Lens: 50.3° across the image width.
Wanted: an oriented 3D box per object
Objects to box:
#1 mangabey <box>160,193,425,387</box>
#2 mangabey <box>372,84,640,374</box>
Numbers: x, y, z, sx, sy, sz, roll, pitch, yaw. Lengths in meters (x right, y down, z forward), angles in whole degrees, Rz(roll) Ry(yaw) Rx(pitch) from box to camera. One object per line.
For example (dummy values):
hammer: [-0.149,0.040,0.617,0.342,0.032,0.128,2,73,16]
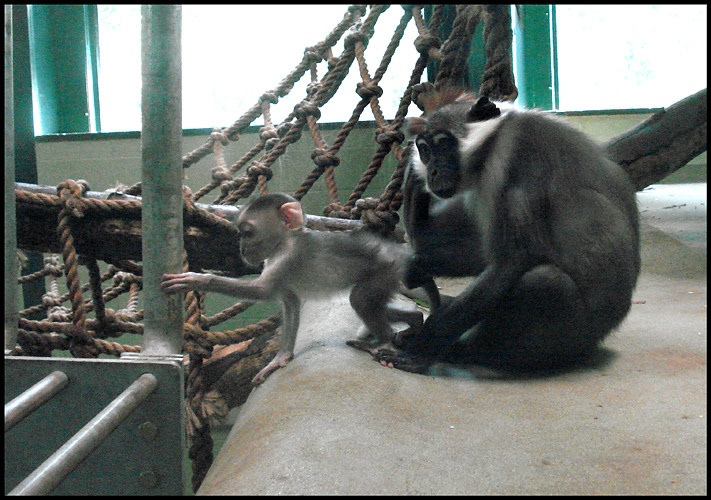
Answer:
mangabey: [-0.204,0.065,3.904,1.102,1.022,0.843,-1,9,2]
mangabey: [0.867,-0.048,3.882,1.018,1.443,1.242,7,10,21]
